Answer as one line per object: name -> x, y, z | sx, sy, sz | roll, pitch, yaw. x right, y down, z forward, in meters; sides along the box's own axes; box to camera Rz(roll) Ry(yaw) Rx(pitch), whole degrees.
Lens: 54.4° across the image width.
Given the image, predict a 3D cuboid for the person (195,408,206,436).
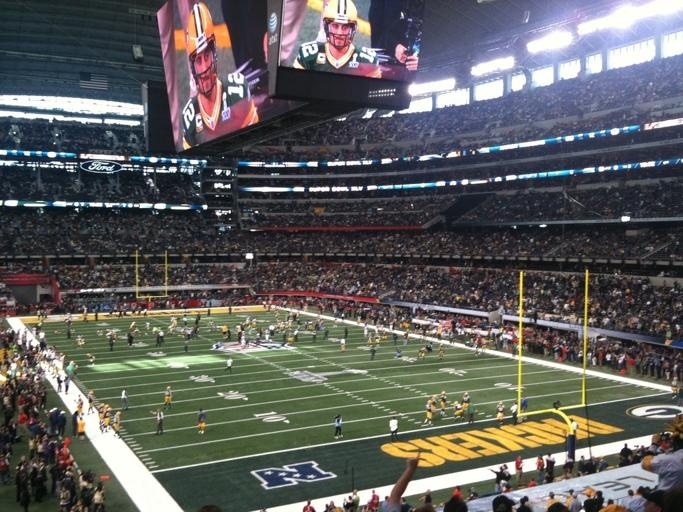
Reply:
person -> -6.938, 8.010, 32.656 | 0.407, 0.956, 1.517 | -2, -1, -13
